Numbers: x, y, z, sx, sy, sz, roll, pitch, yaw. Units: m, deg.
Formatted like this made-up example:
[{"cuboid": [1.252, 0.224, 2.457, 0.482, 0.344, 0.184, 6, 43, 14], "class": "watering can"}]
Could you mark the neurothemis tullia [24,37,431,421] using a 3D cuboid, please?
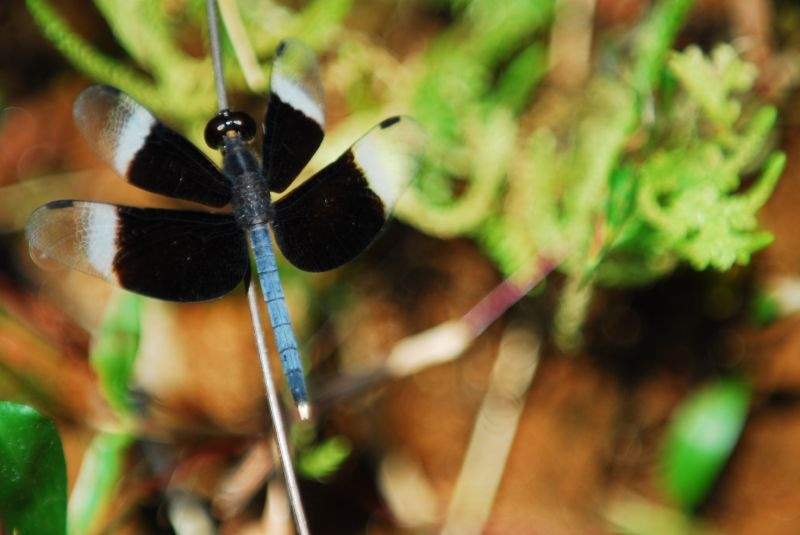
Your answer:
[{"cuboid": [-0.124, -0.058, 0.702, 0.247, 0.085, 0.218, 27, 68, 8], "class": "neurothemis tullia"}]
